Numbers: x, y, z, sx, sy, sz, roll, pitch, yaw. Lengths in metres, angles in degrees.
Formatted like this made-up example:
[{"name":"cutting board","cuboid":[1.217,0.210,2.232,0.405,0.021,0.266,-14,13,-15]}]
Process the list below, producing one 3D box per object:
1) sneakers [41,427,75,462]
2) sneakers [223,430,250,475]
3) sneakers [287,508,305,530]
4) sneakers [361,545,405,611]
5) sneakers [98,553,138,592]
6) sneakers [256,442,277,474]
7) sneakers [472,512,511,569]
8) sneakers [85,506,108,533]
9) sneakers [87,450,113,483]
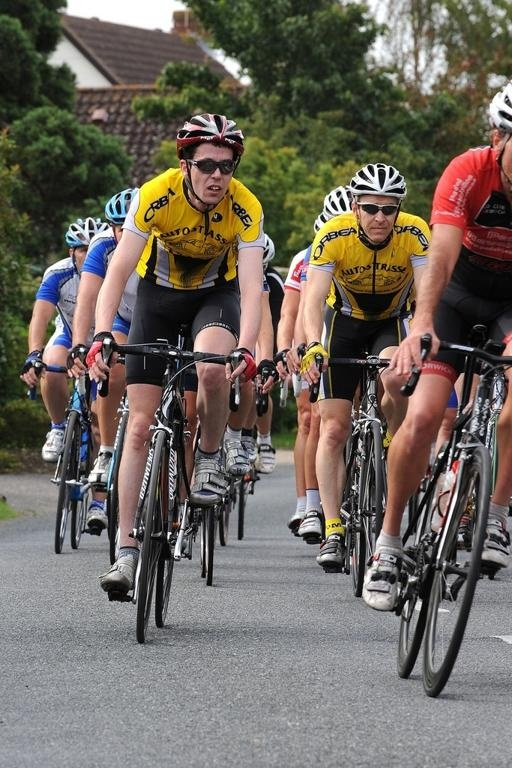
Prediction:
[{"name":"sneakers","cuboid":[-1.745,0.501,8.129,0.151,0.171,0.404,2,35,0]},{"name":"sneakers","cuboid":[-0.158,0.508,7.197,0.139,0.180,0.410,-6,36,-6]},{"name":"sneakers","cuboid":[0.335,1.144,7.841,0.089,0.105,0.247,4,-33,-8]},{"name":"sneakers","cuboid":[0.457,0.708,3.426,0.095,0.120,0.283,5,31,6]},{"name":"sneakers","cuboid":[-0.587,0.796,3.935,0.084,0.103,0.227,12,5,-10]},{"name":"sneakers","cuboid":[0.114,0.852,10.707,0.211,0.210,0.498,0,0,2]},{"name":"sneakers","cuboid":[0.821,0.551,3.167,0.082,0.177,0.451,6,0,15]},{"name":"sneakers","cuboid":[-1.271,1.091,7.395,0.110,0.146,0.323,0,-8,-6]},{"name":"sneakers","cuboid":[-1.169,0.635,7.029,0.110,0.149,0.326,-5,45,16]}]
